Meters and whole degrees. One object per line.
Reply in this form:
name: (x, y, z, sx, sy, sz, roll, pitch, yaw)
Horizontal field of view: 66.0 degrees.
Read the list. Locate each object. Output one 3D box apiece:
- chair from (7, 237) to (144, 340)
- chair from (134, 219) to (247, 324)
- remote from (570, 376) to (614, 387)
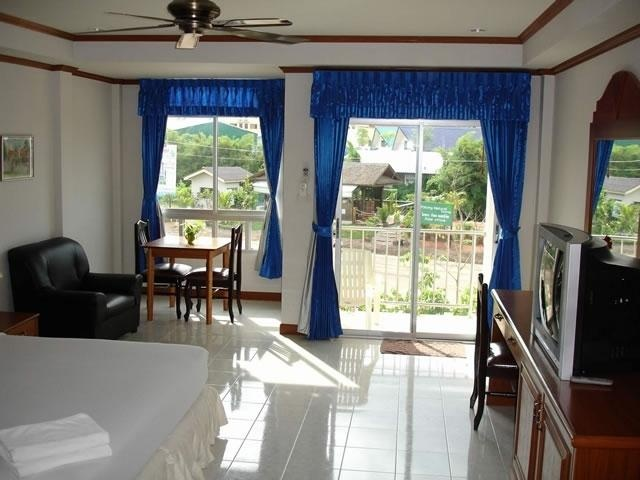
chair: (-2.662, 0.564, 5.544, 1.112, 1.198, 1.075, 2, 5, 6)
chair: (-1.593, 0.390, 6.442, 1.263, 1.127, 1.317, 3, 3, 17)
remote: (1.424, 0.737, 2.578, 0.138, 0.036, 0.080, 2, -1, 12)
